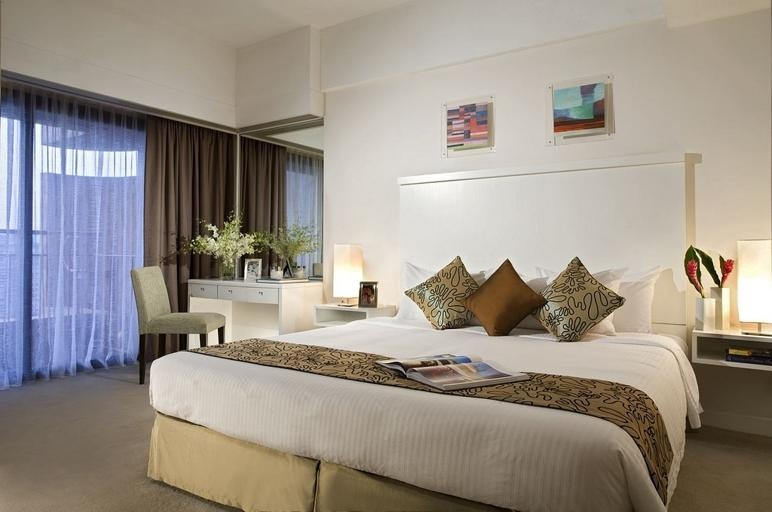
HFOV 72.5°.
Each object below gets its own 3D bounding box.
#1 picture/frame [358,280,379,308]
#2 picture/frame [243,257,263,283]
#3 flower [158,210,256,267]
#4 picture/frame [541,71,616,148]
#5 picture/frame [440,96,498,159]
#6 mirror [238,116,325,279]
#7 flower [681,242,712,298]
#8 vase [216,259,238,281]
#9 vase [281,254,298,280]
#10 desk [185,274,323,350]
[{"bbox_3d":[-0.187,0.394,5.353,0.251,0.353,0.036,-1,-11,12],"label":"picture/frame"},{"bbox_3d":[-1.536,0.169,6.140,0.265,0.345,0.040,-1,-13,-1],"label":"picture/frame"},{"bbox_3d":[-1.975,-0.209,6.213,0.751,0.549,0.609,-1,3,-29],"label":"flower"},{"bbox_3d":[1.736,-1.312,4.700,0.659,0.692,0.282,2,5,30],"label":"picture/frame"},{"bbox_3d":[0.827,-1.258,5.142,0.620,0.638,0.051,-1,-2,34],"label":"picture/frame"},{"bbox_3d":[-1.190,-0.685,6.227,1.795,2.227,0.140,1,1,32],"label":"mirror"},{"bbox_3d":[2.440,0.104,4.189,0.130,0.533,0.073,5,-22,-14],"label":"flower"},{"bbox_3d":[-1.894,0.173,6.348,0.226,0.333,0.230,1,0,33],"label":"vase"},{"bbox_3d":[-1.068,0.132,6.021,0.197,0.377,0.253,0,0,-4],"label":"vase"},{"bbox_3d":[-1.598,0.671,6.036,1.189,0.903,0.624,2,10,21],"label":"desk"}]
